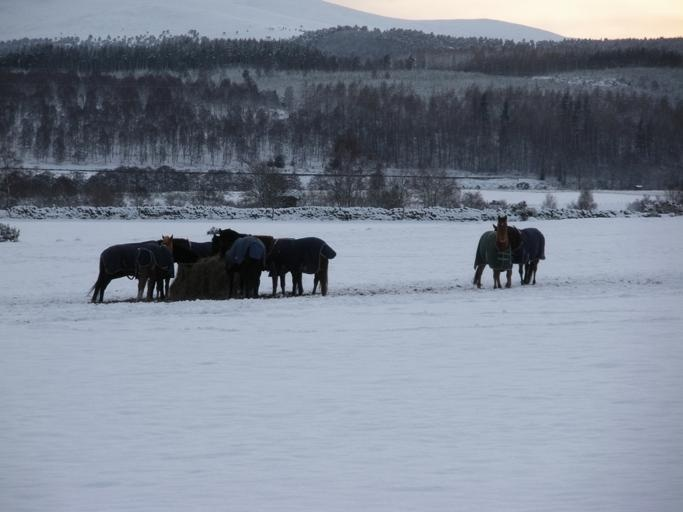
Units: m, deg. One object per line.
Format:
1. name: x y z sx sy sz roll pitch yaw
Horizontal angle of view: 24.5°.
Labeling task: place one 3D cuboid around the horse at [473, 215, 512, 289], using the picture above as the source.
1. horse: 21.922 -0.862 221.836 5.029 10.173 2.532 1 2 3
